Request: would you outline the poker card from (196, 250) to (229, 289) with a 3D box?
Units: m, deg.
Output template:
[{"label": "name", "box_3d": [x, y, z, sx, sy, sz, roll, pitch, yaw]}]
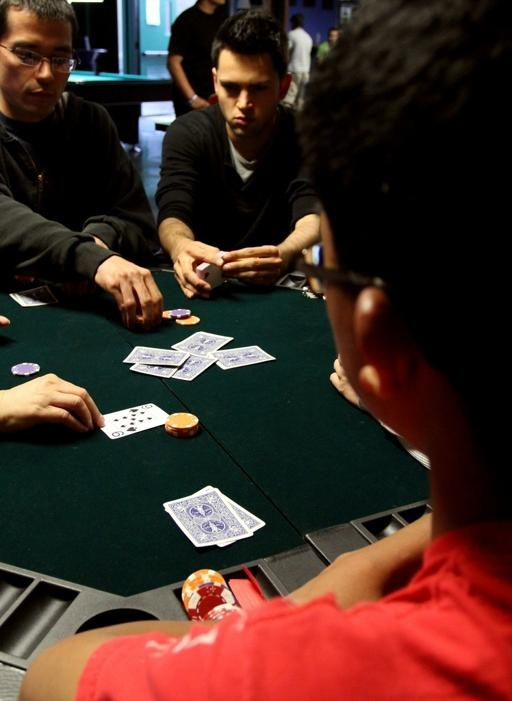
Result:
[{"label": "poker card", "box_3d": [-0.174, -0.322, 2.292, 0.046, 0.118, 0.137, 26, 44, 28]}]
